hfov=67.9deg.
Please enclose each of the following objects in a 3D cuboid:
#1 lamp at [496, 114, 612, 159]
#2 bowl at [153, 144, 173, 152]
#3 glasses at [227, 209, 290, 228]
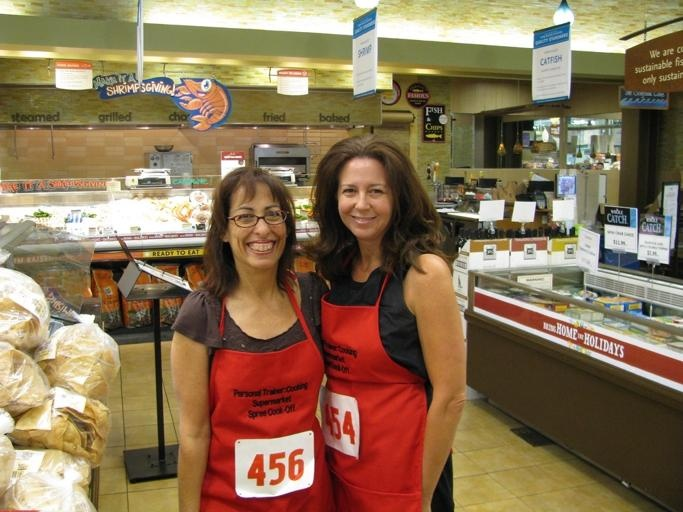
[{"bbox_3d":[6.238,-3.288,14.235,0.418,1.387,3.535,-5,11,-23],"label":"lamp"},{"bbox_3d":[-3.726,-2.275,10.626,0.265,0.091,0.249,-1,4,0],"label":"bowl"},{"bbox_3d":[-0.284,-0.132,1.750,0.194,0.058,0.062,-2,11,-12],"label":"glasses"}]
